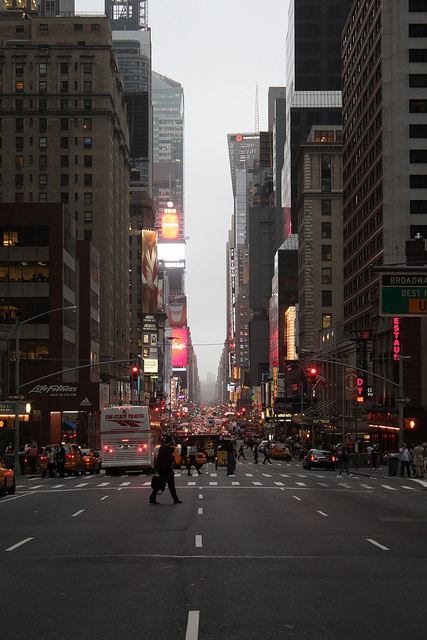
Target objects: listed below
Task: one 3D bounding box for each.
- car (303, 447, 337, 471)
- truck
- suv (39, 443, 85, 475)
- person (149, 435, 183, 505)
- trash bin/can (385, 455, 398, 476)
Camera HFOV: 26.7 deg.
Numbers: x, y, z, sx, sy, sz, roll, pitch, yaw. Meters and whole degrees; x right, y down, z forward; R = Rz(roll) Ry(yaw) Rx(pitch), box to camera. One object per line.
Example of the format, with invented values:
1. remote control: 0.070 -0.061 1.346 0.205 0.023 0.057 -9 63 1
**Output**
1. car: 6.750 8.845 57.043 1.871 1.295 1.810 -1 -10 8
2. truck: -4.150 5.596 43.065 2.317 2.864 1.074 1 -7 -5
3. suv: -7.538 7.336 47.570 1.020 1.456 2.519 -1 -1 5
4. person: -1.371 4.149 24.714 0.506 2.336 0.728 -1 -1 0
5. trash bin/can: 8.923 7.279 45.008 0.544 1.372 0.694 1 -7 -9
